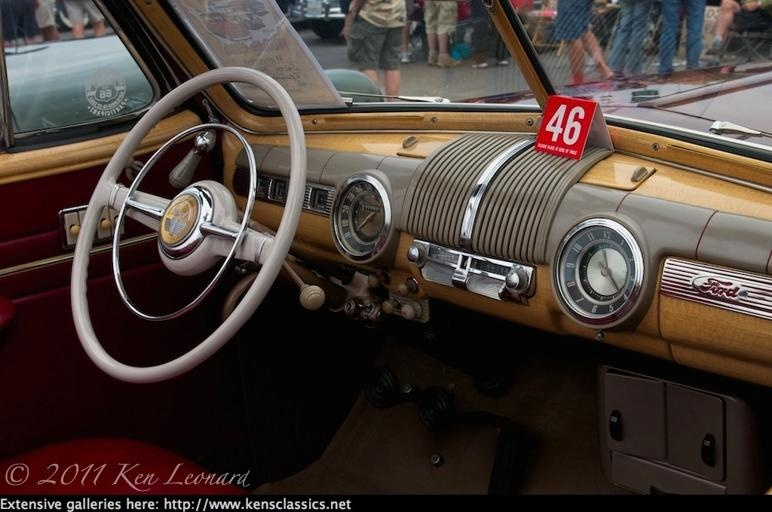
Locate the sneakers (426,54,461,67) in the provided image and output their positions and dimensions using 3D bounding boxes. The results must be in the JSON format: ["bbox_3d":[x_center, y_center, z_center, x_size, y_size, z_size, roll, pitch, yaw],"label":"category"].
[{"bbox_3d":[0.196,-0.649,2.023,0.107,0.049,0.042,0,28,4],"label":"sneakers"}]
